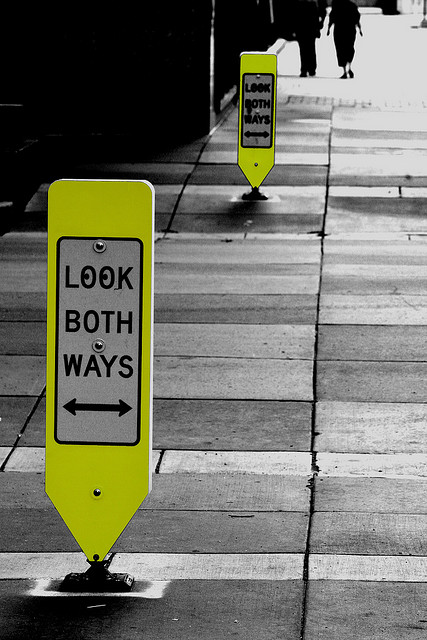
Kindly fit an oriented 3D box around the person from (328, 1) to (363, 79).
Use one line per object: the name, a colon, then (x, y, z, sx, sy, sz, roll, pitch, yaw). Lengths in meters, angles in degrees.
person: (2.780, -6.071, 28.452, 0.626, 1.658, 2.269, 1, 16, 6)
